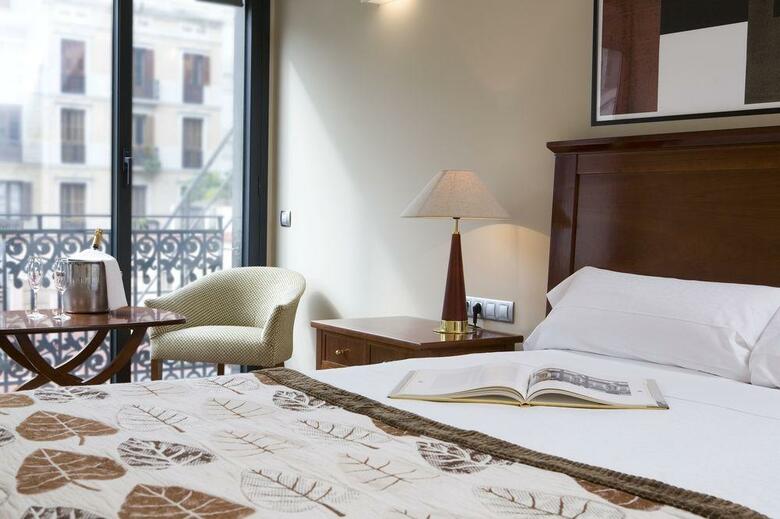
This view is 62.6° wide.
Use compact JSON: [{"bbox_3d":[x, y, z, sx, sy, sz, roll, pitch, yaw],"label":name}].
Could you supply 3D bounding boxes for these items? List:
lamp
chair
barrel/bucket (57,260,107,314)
[{"bbox_3d":[0.323,-0.046,3.302,0.526,0.836,0.442,2,10,10],"label":"lamp"},{"bbox_3d":[-1.026,0.374,4.310,0.896,0.826,0.814,1,-3,18],"label":"chair"},{"bbox_3d":[-1.655,0.140,3.459,0.279,0.283,0.279,0,0,0],"label":"barrel/bucket"}]
